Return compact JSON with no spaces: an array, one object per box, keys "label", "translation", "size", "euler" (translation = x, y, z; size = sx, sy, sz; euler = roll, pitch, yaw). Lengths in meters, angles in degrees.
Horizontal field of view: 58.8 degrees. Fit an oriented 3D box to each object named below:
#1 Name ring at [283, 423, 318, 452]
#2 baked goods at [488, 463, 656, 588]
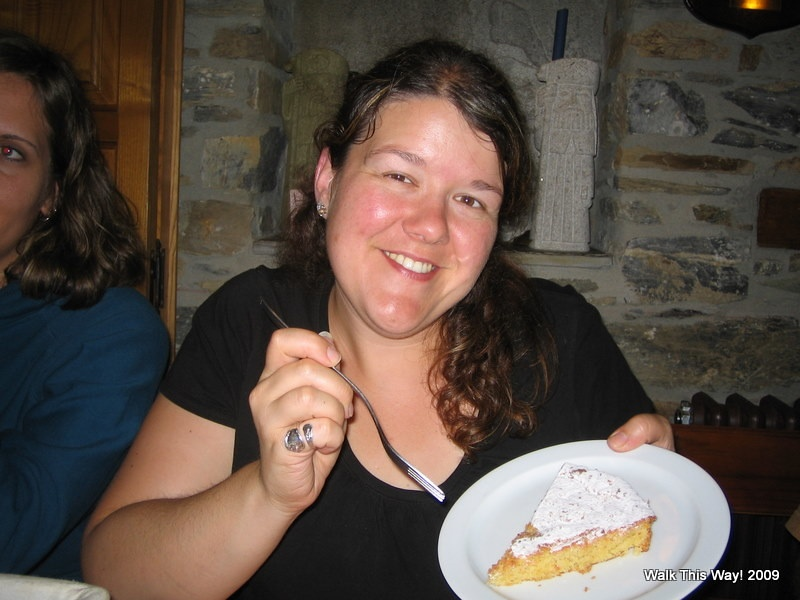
[{"label":"Name ring","translation":[-0.260,0.357,1.831],"size":[0.063,0.031,0.085],"euler":[21,32,16]},{"label":"baked goods","translation":[0.477,0.620,1.960],"size":[0.388,0.108,0.281],"euler":[-29,48,-13]}]
